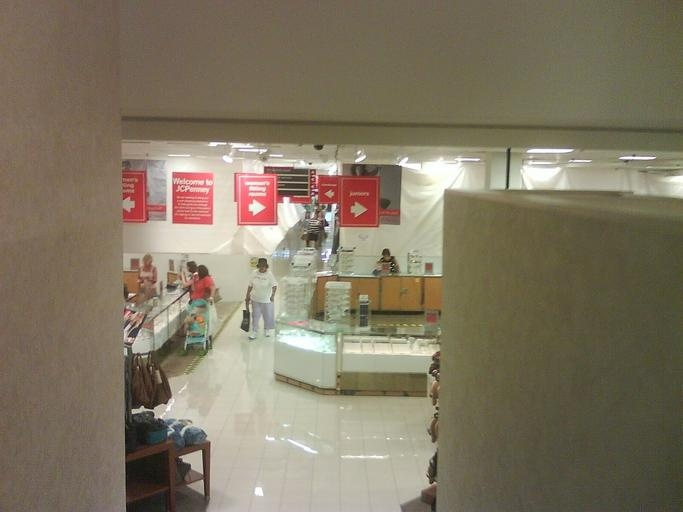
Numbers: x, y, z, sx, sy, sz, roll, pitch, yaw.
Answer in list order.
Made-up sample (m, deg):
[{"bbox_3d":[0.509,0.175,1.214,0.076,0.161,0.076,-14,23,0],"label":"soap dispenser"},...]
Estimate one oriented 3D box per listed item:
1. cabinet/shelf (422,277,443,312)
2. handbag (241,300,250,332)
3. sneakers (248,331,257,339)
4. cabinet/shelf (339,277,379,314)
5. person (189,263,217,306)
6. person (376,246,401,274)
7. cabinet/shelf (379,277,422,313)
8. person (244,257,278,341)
[{"bbox_3d":[1.859,0.838,12.753,0.380,0.725,0.406,-5,-6,40],"label":"cabinet/shelf"},{"bbox_3d":[-1.836,1.181,11.025,0.143,0.649,0.502,0,6,-9],"label":"handbag"},{"bbox_3d":[-1.689,1.498,10.974,0.157,0.124,0.153,0,6,-13],"label":"sneakers"},{"bbox_3d":[0.378,0.769,12.770,0.890,0.830,0.485,1,19,3],"label":"cabinet/shelf"},{"bbox_3d":[-2.594,0.548,10.668,0.403,0.660,0.949,-1,6,-16],"label":"person"},{"bbox_3d":[0.903,0.027,12.823,0.710,0.790,0.479,-1,3,-3],"label":"person"},{"bbox_3d":[1.381,0.882,12.844,1.078,0.794,0.620,0,-13,15],"label":"cabinet/shelf"},{"bbox_3d":[-1.527,0.815,10.895,0.524,1.500,0.701,0,6,-8],"label":"person"}]
